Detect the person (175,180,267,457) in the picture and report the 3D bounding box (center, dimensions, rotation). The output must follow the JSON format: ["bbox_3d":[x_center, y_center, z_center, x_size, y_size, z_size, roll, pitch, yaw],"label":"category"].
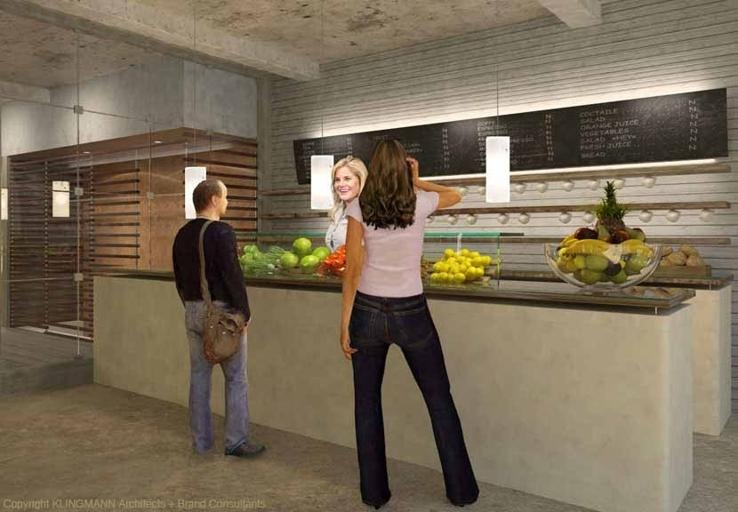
[{"bbox_3d":[-1.182,0.479,4.041,0.775,2.077,0.514,2,1,27],"label":"person"}]

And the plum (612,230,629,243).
[{"bbox_3d":[1.485,-0.107,3.068,0.097,0.078,0.042,-1,8,13],"label":"plum"}]

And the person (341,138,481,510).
[{"bbox_3d":[0.212,0.464,3.161,0.763,2.294,0.328,-3,8,-4],"label":"person"}]

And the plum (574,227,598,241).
[{"bbox_3d":[1.334,-0.139,3.159,0.100,0.076,0.082,10,20,31],"label":"plum"}]

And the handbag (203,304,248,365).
[{"bbox_3d":[-1.056,0.587,3.799,0.308,0.476,0.197,-5,8,-15],"label":"handbag"}]
